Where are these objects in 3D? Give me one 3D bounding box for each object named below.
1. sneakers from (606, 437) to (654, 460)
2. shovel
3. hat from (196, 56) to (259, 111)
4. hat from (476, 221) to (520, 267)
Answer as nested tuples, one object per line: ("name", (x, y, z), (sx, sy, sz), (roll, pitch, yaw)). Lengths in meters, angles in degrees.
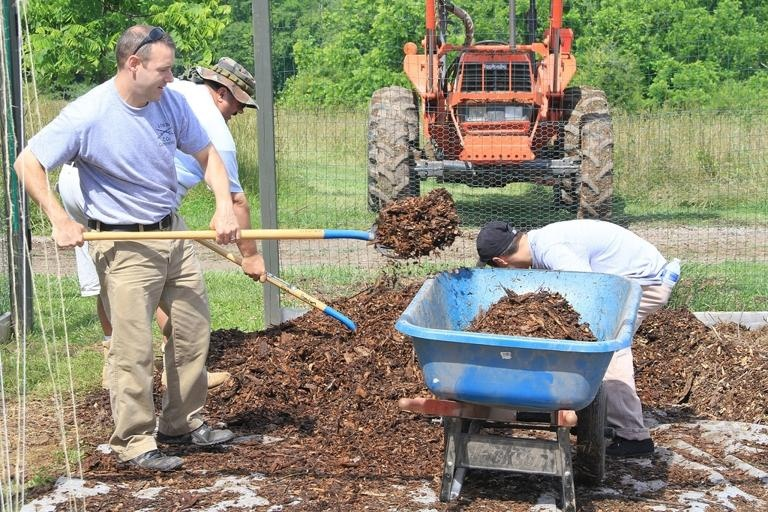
("sneakers", (2.468, 1.900, 11.133), (0.555, 0.183, 0.182), (-2, 2, 0))
("shovel", (-0.881, -0.237, 11.103), (3.946, 0.639, 1.087), (0, -6, -5))
("hat", (-1.626, -1.849, 11.547), (0.795, 0.295, 0.711), (27, -1, -3))
("hat", (1.114, -0.100, 11.294), (0.340, 0.445, 0.480), (2, -30, 0))
